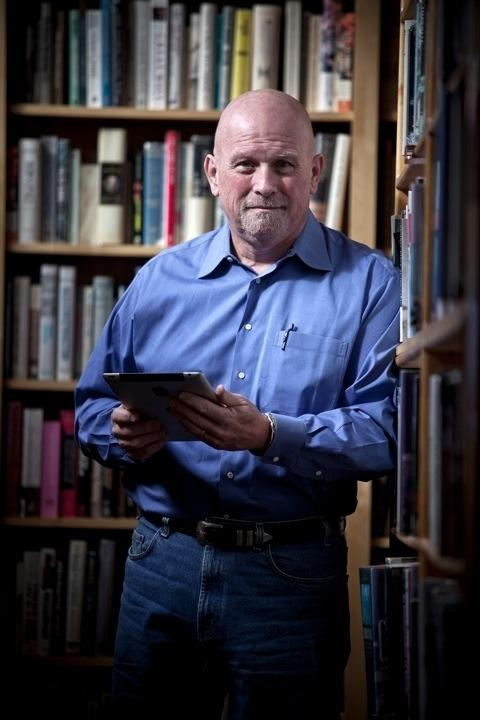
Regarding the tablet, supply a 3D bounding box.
[{"bbox_3d":[-0.126,0.081,1.534,0.204,0.018,0.268,-5,-36,23],"label":"tablet"}]
